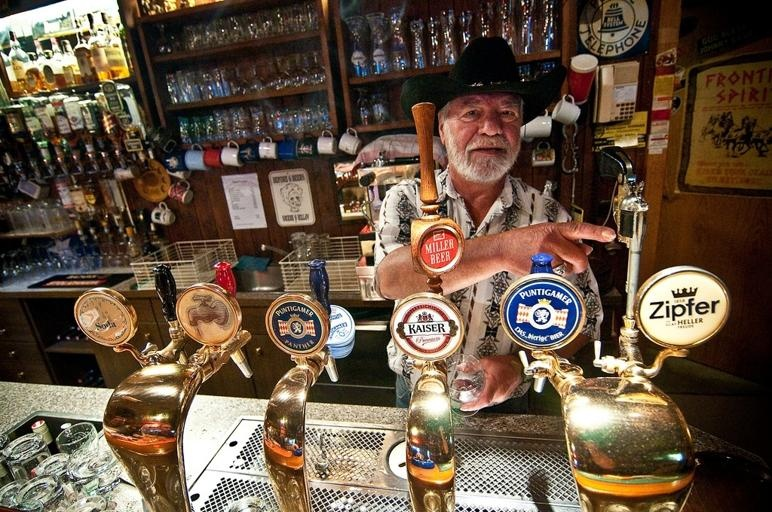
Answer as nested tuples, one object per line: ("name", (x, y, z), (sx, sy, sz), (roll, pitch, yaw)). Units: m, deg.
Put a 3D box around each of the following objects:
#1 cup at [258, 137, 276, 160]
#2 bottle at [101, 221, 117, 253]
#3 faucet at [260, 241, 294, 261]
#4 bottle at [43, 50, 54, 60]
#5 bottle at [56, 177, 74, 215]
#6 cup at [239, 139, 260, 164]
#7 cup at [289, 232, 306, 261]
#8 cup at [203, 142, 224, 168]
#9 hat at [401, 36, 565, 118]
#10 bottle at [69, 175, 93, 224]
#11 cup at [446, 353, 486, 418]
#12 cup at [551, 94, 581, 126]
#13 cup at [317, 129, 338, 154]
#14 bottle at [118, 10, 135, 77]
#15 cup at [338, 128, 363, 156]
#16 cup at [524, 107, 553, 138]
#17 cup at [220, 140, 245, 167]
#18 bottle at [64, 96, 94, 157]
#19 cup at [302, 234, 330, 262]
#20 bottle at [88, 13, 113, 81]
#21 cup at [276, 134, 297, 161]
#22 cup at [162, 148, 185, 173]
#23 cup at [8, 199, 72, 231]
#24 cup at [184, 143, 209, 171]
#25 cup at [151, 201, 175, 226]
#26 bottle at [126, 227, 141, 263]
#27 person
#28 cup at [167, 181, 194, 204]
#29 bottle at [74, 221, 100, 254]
("cup", (-0.831, -0.752, 3.747), (0.121, 0.151, 0.108), (-2, 4, -17))
("bottle", (-2.268, -0.175, 4.394), (0.076, 0.316, 0.073), (2, 42, -2))
("faucet", (-0.848, -0.034, 4.130), (0.231, 0.144, 0.442), (-6, 11, -14))
("bottle", (-2.578, -1.545, 4.102), (0.051, 0.066, 0.049), (2, 5, 0))
("bottle", (-2.661, -0.526, 4.434), (0.271, 0.250, 0.078), (7, 15, 42))
("cup", (-0.970, -0.754, 3.825), (0.118, 0.146, 0.115), (-2, 0, 0))
("cup", (-0.653, -0.076, 4.020), (0.095, 0.177, 0.186), (-5, 11, -8))
("cup", (-1.240, -0.732, 3.853), (0.109, 0.144, 0.114), (2, -4, 0))
("hat", (0.474, -0.858, 2.720), (0.636, 0.245, 0.653), (-6, -4, 7))
("bottle", (-2.474, -0.444, 4.376), (0.192, 0.280, 0.057), (1, 12, 19))
("cup", (0.333, 0.515, 2.221), (0.195, 0.217, 0.225), (-4, 39, 11))
("cup", (1.102, -0.892, 3.298), (0.152, 0.197, 0.127), (6, 10, 5))
("cup", (-0.409, -0.770, 3.648), (0.120, 0.171, 0.111), (-7, 9, 1))
("bottle", (-1.857, -1.498, 3.827), (0.051, 0.422, 0.306), (-9, 12, -25))
("cup", (-0.252, -0.777, 3.658), (0.128, 0.183, 0.120), (-3, 7, 0))
("cup", (0.941, -0.808, 3.353), (0.179, 0.192, 0.118), (0, -5, 25))
("cup", (-1.089, -0.730, 3.805), (0.141, 0.175, 0.127), (-6, 4, -20))
("bottle", (-2.279, -0.970, 3.973), (0.142, 0.426, 0.306), (-9, 13, -28))
("cup", (-0.510, -0.060, 4.059), (0.195, 0.185, 0.336), (1, -10, -5))
("bottle", (-2.090, -1.515, 3.910), (0.132, 0.463, 0.233), (-9, 12, -26))
("cup", (-0.681, -0.758, 3.708), (0.145, 0.137, 0.152), (-4, -2, 0))
("cup", (-1.530, -0.697, 3.902), (0.179, 0.166, 0.121), (2, 30, 2))
("cup", (-2.901, -0.334, 4.411), (0.554, 0.240, 0.232), (-2, 11, 4))
("cup", (-1.379, -0.718, 3.863), (0.137, 0.189, 0.124), (-2, 10, 20))
("cup", (-1.792, -0.343, 4.313), (0.182, 0.194, 0.120), (1, 12, 19))
("bottle", (-2.025, -0.110, 4.306), (0.106, 0.285, 0.266), (-9, 12, -26))
("person", (0.463, -0.137, 2.517), (1.057, 1.845, 1.119), (-1, 11, 10))
("cup", (-1.597, -0.506, 4.204), (0.159, 0.214, 0.135), (2, 20, 3))
("bottle", (-2.480, -0.165, 4.459), (0.148, 0.302, 0.282), (-10, 13, -30))
